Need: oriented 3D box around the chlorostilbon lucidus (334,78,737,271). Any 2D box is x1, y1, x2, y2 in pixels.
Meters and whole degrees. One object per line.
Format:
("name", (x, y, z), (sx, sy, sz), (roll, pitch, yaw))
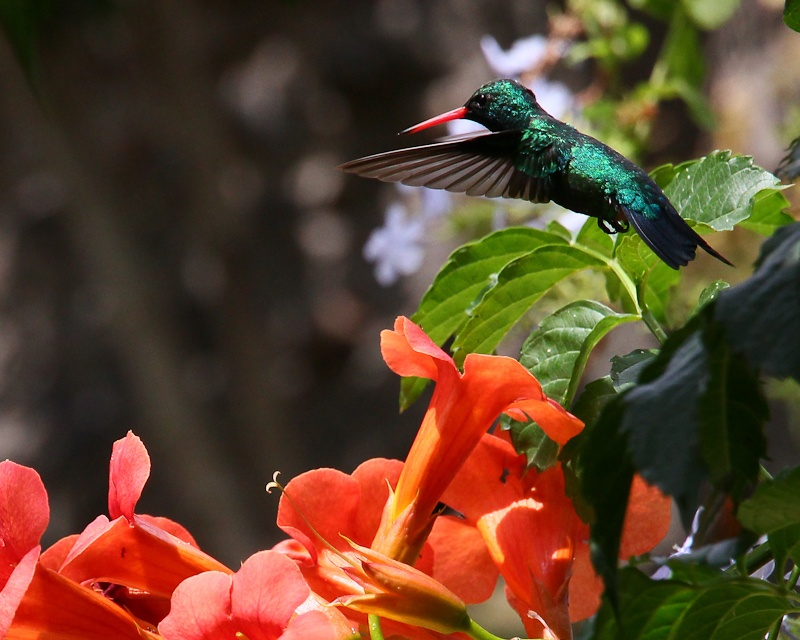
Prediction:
("chlorostilbon lucidus", (0.184, -0.231, 1.570), (0.504, 0.243, 0.259), (6, 8, 25))
